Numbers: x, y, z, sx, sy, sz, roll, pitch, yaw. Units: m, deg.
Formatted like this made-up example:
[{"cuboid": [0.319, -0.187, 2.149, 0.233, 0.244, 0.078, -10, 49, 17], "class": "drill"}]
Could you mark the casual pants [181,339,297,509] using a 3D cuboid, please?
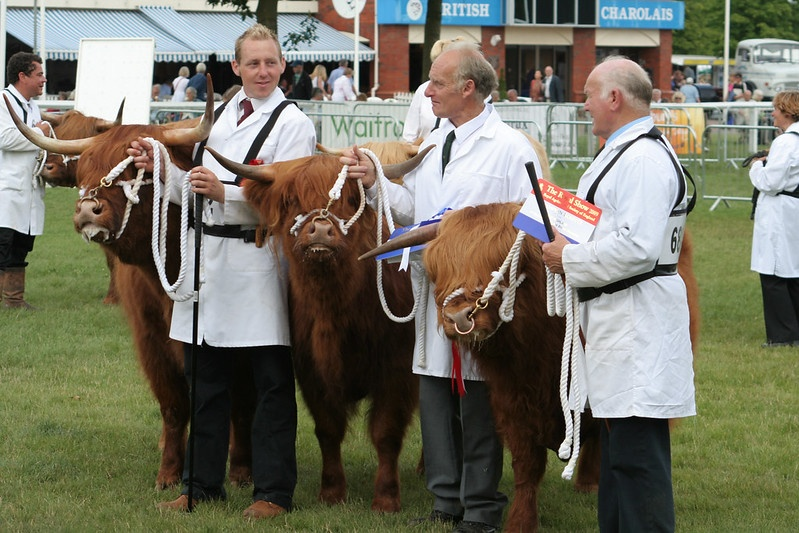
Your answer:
[{"cuboid": [-1.784, 1.484, 17.738, 1.080, 2.709, 0.612, 4, 21, 2], "class": "casual pants"}]

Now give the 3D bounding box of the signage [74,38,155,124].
[{"cuboid": [-3.759, -2.510, 20.729, 1.091, 1.264, 0.066, -1, 50, -28], "class": "signage"}]

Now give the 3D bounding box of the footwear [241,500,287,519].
[{"cuboid": [-1.514, 2.709, 17.521, 0.356, 0.165, 0.211, 14, 5, -6], "class": "footwear"}]

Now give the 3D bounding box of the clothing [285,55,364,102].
[{"cuboid": [-1.560, -4.026, 34.682, 0.710, 1.581, 2.668, 1, 4, 20], "class": "clothing"}]

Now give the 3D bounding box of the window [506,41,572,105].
[{"cuboid": [4.157, -5.778, 47.958, 2.114, 2.462, 0.230, 3, 46, 8], "class": "window"}]

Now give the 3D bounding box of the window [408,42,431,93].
[{"cuboid": [0.605, -5.755, 46.230, 0.844, 1.538, 0.938, 2, 2, 8], "class": "window"}]

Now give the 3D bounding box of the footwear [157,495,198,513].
[{"cuboid": [-2.479, 2.627, 17.690, 0.511, 0.266, 0.179, 5, -5, 9], "class": "footwear"}]
